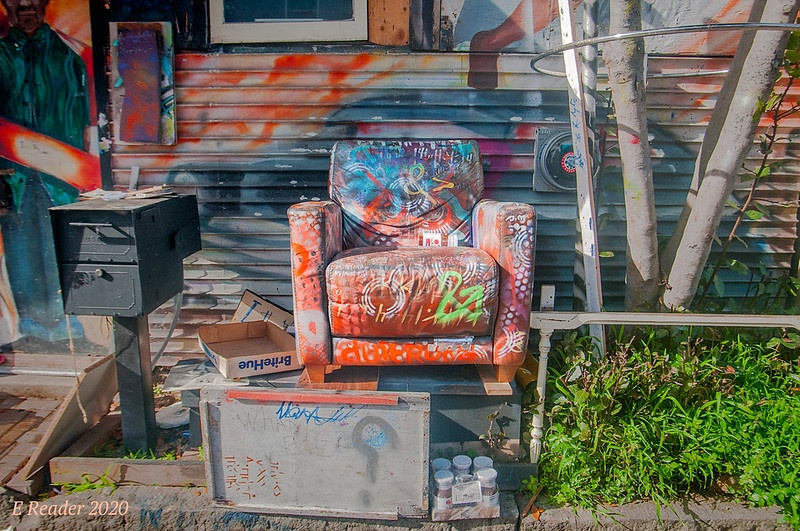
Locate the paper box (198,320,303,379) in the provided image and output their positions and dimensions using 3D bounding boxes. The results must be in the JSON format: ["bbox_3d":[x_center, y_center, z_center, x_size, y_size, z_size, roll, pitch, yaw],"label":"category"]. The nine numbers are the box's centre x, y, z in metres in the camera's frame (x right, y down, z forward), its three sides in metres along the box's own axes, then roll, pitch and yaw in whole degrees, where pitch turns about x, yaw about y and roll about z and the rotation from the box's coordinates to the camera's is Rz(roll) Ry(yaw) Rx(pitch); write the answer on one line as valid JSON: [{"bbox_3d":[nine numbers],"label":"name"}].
[{"bbox_3d":[-1.151,0.549,5.080,0.483,0.115,0.623,2,12,-31],"label":"paper box"}]

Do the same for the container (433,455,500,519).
[{"bbox_3d":[0.425,1.459,4.527,0.431,0.232,0.400,-1,4,0],"label":"container"}]

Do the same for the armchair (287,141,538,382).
[{"bbox_3d":[0.091,-0.166,5.280,1.803,1.673,1.733,1,10,1],"label":"armchair"}]

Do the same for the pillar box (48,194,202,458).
[{"bbox_3d":[-1.956,0.393,4.983,0.614,1.796,0.755,3,12,12],"label":"pillar box"}]
